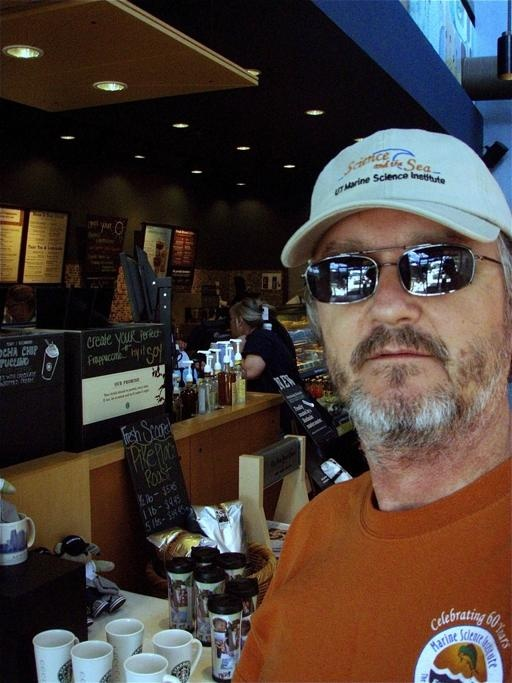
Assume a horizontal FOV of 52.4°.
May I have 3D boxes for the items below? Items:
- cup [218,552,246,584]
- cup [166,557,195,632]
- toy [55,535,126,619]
[{"bbox_3d":[-0.070,0.667,1.538,0.068,0.067,0.067,1,2,0],"label":"cup"},{"bbox_3d":[-0.215,0.738,1.480,0.073,0.200,0.049,-1,-1,-11],"label":"cup"},{"bbox_3d":[-0.497,0.700,1.551,0.197,0.201,0.120,-2,-2,43],"label":"toy"}]
